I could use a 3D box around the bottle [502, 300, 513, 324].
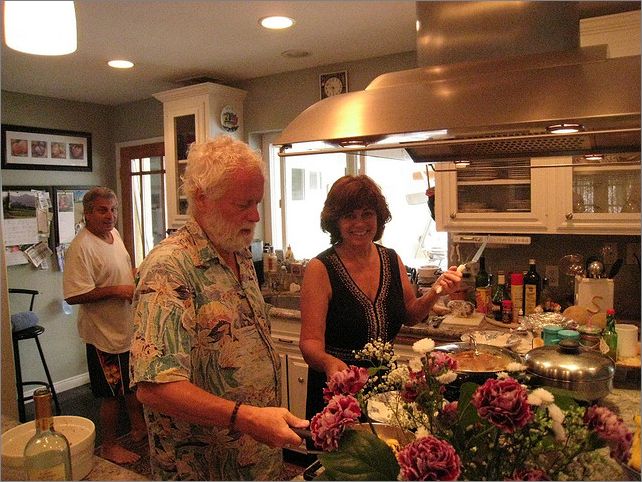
[{"bbox_3d":[1.095,0.416,2.821,0.069,0.132,0.059,-1,-3,3],"label":"bottle"}]

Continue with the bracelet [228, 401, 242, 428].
[{"bbox_3d":[-0.237,0.475,1.317,0.015,0.052,0.039,6,1,1],"label":"bracelet"}]

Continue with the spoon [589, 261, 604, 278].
[{"bbox_3d":[1.515,0.163,2.660,0.083,0.098,0.082,1,-2,-13],"label":"spoon"}]

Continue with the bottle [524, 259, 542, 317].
[{"bbox_3d":[1.272,0.278,2.906,0.094,0.327,0.162,-2,-3,30],"label":"bottle"}]

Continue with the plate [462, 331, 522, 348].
[{"bbox_3d":[0.780,0.453,2.210,0.225,0.046,0.231,-1,1,-2],"label":"plate"}]

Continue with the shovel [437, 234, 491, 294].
[{"bbox_3d":[0.872,0.142,2.898,0.062,0.441,0.074,40,8,37],"label":"shovel"}]

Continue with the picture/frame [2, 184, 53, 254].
[{"bbox_3d":[-2.737,-0.205,4.472,0.090,0.626,0.652,-2,1,38],"label":"picture/frame"}]

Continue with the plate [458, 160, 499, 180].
[{"bbox_3d":[0.887,-0.396,2.694,0.129,0.121,0.128,0,1,-27],"label":"plate"}]

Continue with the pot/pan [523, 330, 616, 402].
[{"bbox_3d":[0.749,0.322,1.468,0.245,0.162,0.251,-1,-4,29],"label":"pot/pan"}]
